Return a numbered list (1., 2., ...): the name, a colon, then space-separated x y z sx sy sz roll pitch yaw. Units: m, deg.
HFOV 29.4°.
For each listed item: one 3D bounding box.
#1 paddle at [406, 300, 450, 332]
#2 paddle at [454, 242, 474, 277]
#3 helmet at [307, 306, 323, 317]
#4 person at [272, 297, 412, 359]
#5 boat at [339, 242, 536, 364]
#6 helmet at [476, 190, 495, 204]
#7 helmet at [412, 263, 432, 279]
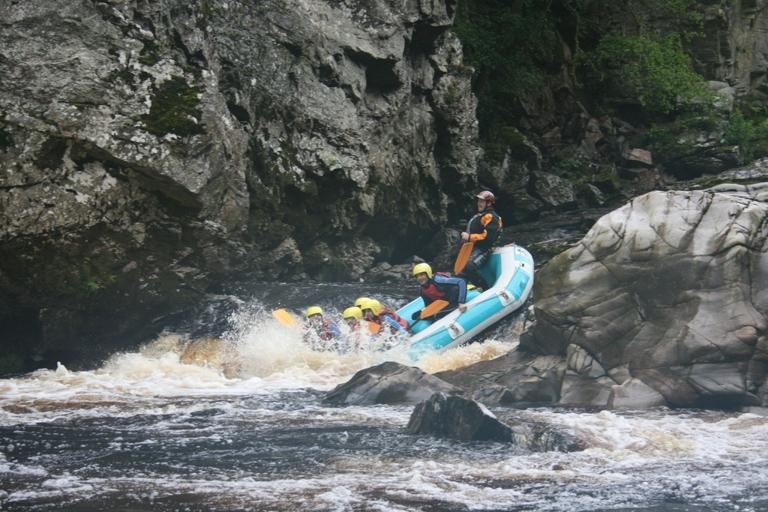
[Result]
1. paddle: 1.014 1.458 34.984 0.252 0.336 1.799 -23 -10 -46
2. paddle: 1.919 0.122 36.022 0.365 0.942 0.164 31 7 24
3. helmet: -1.660 1.321 34.276 0.358 0.201 0.230 -12 9 1
4. person: -0.869 1.706 34.226 2.755 1.252 1.079 -7 0 -1
5. boat: 1.986 1.363 34.387 4.249 0.744 2.270 -29 20 -8
6. helmet: 2.582 -1.494 36.284 0.557 0.217 0.347 17 2 -14
7. helmet: 0.887 0.372 34.984 0.423 0.258 0.420 -8 -8 32
